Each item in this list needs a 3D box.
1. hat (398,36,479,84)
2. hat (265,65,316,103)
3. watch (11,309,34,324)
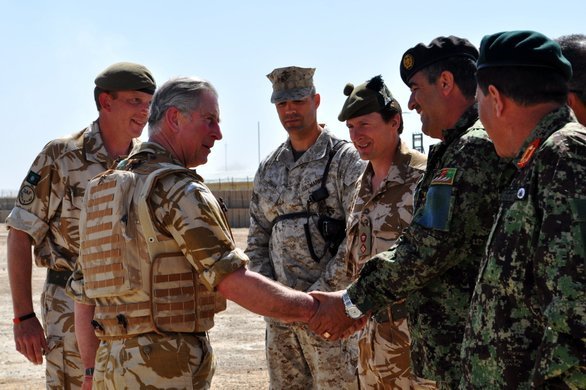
[{"bbox_3d":[1.196,-0.961,5.064,0.729,0.297,0.670,7,7,-4],"label":"hat"},{"bbox_3d":[-0.015,-1.078,6.588,0.458,0.318,0.584,-5,7,22],"label":"hat"},{"bbox_3d":[-2.236,1.010,5.482,0.116,0.034,0.114,-11,-15,-38],"label":"watch"}]
